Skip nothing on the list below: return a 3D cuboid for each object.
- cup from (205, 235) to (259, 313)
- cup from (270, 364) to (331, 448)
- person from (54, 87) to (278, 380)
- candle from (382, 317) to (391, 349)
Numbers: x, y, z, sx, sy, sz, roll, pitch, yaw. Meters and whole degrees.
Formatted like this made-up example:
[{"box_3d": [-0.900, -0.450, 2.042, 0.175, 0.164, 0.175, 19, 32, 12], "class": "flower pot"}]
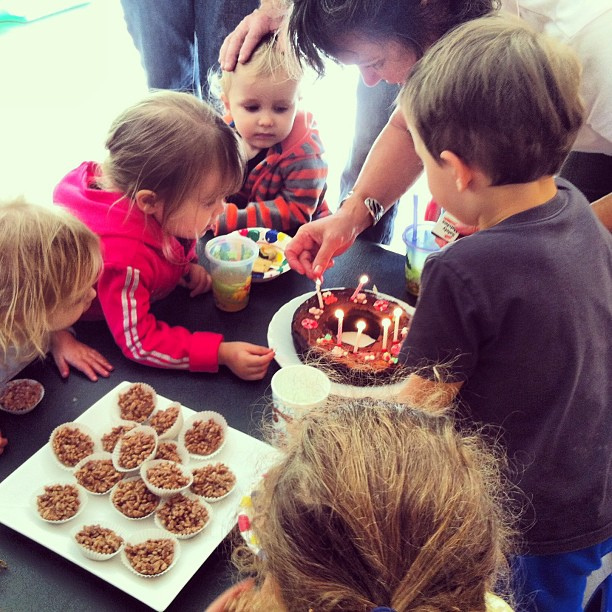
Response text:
[{"box_3d": [-0.266, -0.104, 2.033, 0.189, 0.212, 0.193, 3, 18, -1], "class": "cup"}, {"box_3d": [-0.013, 0.223, 1.293, 0.142, 0.216, 0.138, 1, 33, 0], "class": "cup"}, {"box_3d": [-0.530, -0.272, 2.056, 0.954, 0.849, 0.642, 33, 38, 32], "class": "person"}, {"box_3d": [0.248, 0.087, 1.822, 0.022, 0.109, 0.043, 11, 38, 8], "class": "candle"}]
